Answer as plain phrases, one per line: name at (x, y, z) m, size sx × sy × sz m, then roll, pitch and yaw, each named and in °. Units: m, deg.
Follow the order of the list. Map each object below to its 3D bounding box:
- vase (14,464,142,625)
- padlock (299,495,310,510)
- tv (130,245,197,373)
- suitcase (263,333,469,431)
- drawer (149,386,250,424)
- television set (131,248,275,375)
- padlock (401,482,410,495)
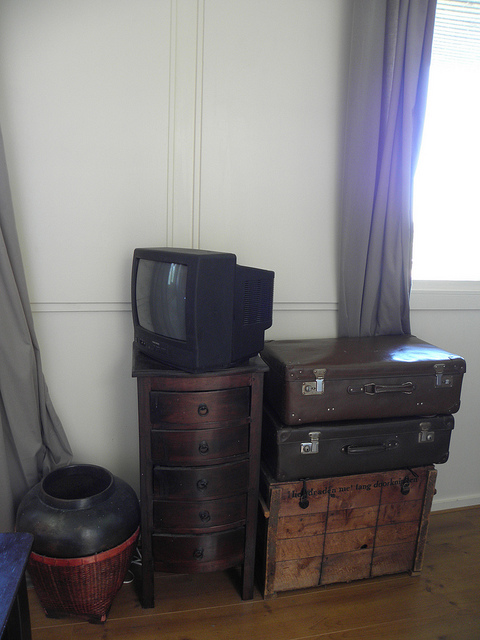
vase at (-0.553, 0.817, 1.813) m, size 0.391 × 0.546 × 0.434 m, roll 2°, pitch 7°, yaw 5°
padlock at (0.234, 0.658, 1.818) m, size 0.026 × 0.055 × 0.047 m, roll 3°, pitch 15°, yaw 10°
tv at (-0.222, -0.058, 1.697) m, size 0.299 × 0.373 × 0.170 m, roll 11°, pitch 14°, yaw 33°
suitcase at (0.423, 0.234, 1.966) m, size 0.794 × 0.248 × 0.389 m, roll -1°, pitch 11°, yaw -16°
drawer at (-0.129, 0.275, 1.616) m, size 0.137 × 0.084 × 0.209 m, roll -2°, pitch 4°, yaw -20°
television set at (-0.134, -0.054, 1.751) m, size 0.393 × 0.411 × 0.445 m, roll -3°, pitch 11°, yaw -32°
padlock at (0.636, 0.645, 1.923) m, size 0.037 × 0.060 × 0.017 m, roll -2°, pitch 10°, yaw -19°
